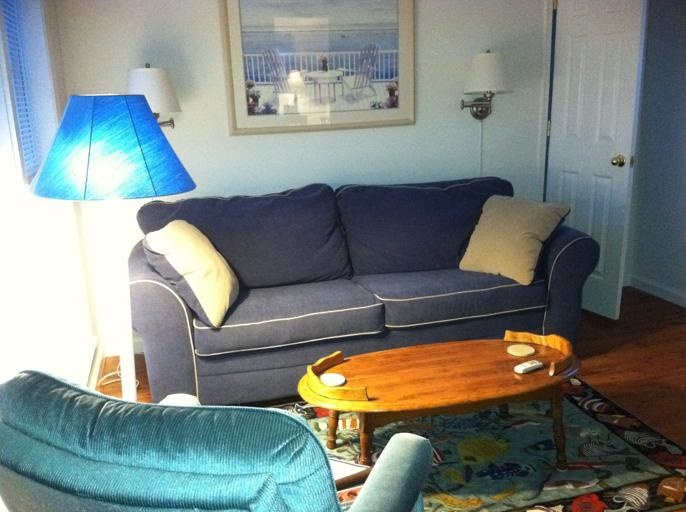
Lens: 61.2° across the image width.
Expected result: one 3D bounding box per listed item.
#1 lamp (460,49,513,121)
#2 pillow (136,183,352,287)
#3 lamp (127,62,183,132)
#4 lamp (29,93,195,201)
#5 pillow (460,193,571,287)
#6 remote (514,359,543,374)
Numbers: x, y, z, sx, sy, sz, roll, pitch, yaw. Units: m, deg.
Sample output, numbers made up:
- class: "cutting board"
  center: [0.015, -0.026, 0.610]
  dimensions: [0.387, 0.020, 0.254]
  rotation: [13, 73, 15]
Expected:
- class: "lamp"
  center: [0.993, -1.167, 3.971]
  dimensions: [0.346, 0.415, 0.329]
  rotation: [-2, 7, -12]
- class: "pillow"
  center: [-0.419, -0.107, 3.374]
  dimensions: [1.139, 0.554, 0.312]
  rotation: [-8, -7, -16]
- class: "lamp"
  center: [-1.138, -0.920, 3.498]
  dimensions: [0.330, 0.384, 0.310]
  rotation: [4, 24, 14]
- class: "lamp"
  center: [-0.779, -0.394, 2.051]
  dimensions: [0.629, 0.304, 0.522]
  rotation: [-2, 18, -5]
- class: "pillow"
  center: [1.081, -0.074, 3.416]
  dimensions: [0.186, 0.524, 0.584]
  rotation: [33, -6, -37]
- class: "remote"
  center: [0.793, 0.470, 2.452]
  dimensions: [0.106, 0.028, 0.049]
  rotation: [-11, 23, -25]
